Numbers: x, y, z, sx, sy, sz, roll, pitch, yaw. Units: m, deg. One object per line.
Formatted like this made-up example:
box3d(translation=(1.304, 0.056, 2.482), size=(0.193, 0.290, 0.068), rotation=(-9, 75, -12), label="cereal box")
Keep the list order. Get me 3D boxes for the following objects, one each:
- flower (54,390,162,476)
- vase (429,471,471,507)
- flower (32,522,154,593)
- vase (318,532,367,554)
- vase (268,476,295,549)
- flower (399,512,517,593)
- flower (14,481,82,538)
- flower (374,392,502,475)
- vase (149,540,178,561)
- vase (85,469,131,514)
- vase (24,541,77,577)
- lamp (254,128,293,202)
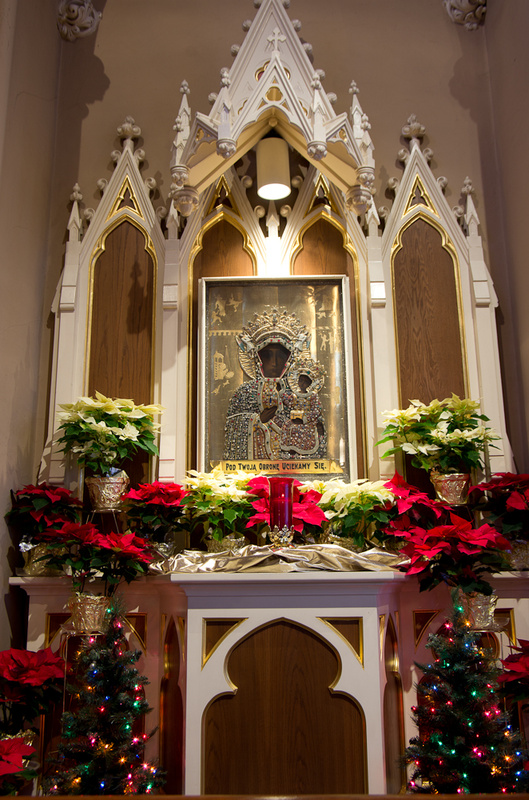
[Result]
box3d(translation=(-0.588, 0.113, 2.850), size=(0.368, 0.235, 0.359), rotation=(3, 6, 19), label="flower")
box3d(translation=(0.687, 0.336, 2.752), size=(0.131, 0.097, 0.122), rotation=(-2, -8, 7), label="vase")
box3d(translation=(-0.533, 0.514, 2.521), size=(0.381, 0.181, 0.383), rotation=(6, 4, 12), label="flower")
box3d(translation=(0.280, 0.509, 2.659), size=(0.113, 0.040, 0.092), rotation=(12, -3, 2), label="vase")
box3d(translation=(0.051, 0.364, 2.412), size=(0.079, 0.220, 0.083), rotation=(-3, -13, 8), label="vase")
box3d(translation=(0.546, 0.470, 2.340), size=(0.247, 0.171, 0.229), rotation=(-6, -12, -41), label="flower")
box3d(translation=(-0.818, 0.386, 2.832), size=(0.254, 0.238, 0.244), rotation=(3, -2, 2), label="flower")
box3d(translation=(0.684, 0.136, 2.857), size=(0.369, 0.243, 0.360), rotation=(-10, -13, -15), label="flower")
box3d(translation=(-0.366, 0.551, 2.701), size=(0.055, 0.054, 0.062), rotation=(2, -37, -8), label="vase")
box3d(translation=(-0.580, 0.341, 2.754), size=(0.161, 0.152, 0.145), rotation=(0, -6, 17), label="vase")
box3d(translation=(-0.753, 0.555, 2.658), size=(0.202, 0.079, 0.156), rotation=(9, -12, -37), label="vase")
box3d(translation=(0.039, -1.019, 3.184), size=(0.136, 0.292, 0.176), rotation=(-1, -13, -2), label="lamp")
